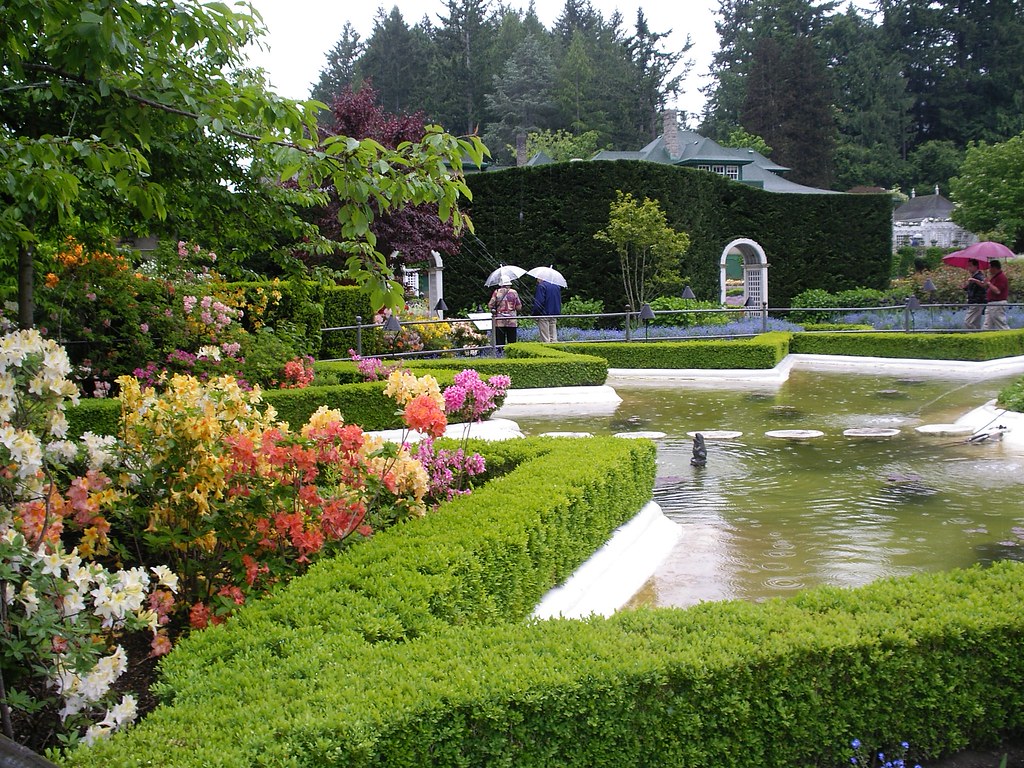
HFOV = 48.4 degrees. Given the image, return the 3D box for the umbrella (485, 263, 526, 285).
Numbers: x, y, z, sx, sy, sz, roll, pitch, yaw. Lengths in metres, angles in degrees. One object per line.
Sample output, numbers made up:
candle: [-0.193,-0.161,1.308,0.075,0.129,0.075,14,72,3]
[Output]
umbrella: [-0.185,-2.484,26.154,0.716,0.347,0.749,-24,9,14]

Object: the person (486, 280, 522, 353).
person: [-0.131,-1.397,22.346,0.541,1.535,0.470,-2,25,-4]

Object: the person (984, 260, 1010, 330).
person: [10.121,-1.910,24.158,0.444,1.453,1.684,-1,4,23]

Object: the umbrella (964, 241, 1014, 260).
umbrella: [9.859,-2.734,23.477,0.777,0.277,0.771,-6,6,-31]
